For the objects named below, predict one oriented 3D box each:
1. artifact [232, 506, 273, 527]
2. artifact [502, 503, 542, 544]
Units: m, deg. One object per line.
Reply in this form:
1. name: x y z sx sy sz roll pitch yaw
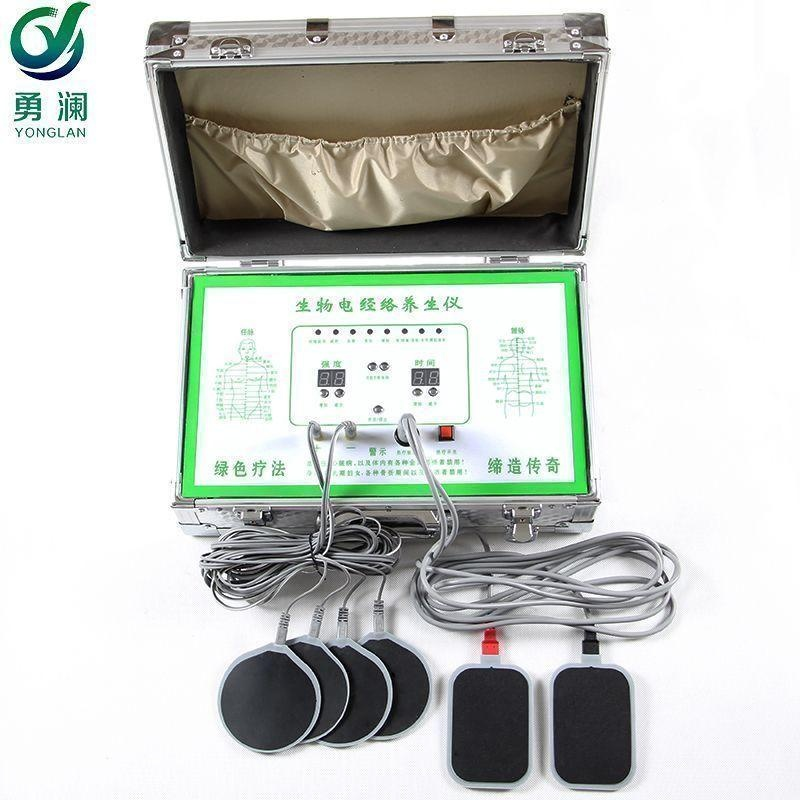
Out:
1. artifact: -0.233 0.187 1.412 0.044 0.015 0.044 0 -29 1
2. artifact: 0.196 0.195 1.404 0.062 0.066 0.027 0 -1 1
